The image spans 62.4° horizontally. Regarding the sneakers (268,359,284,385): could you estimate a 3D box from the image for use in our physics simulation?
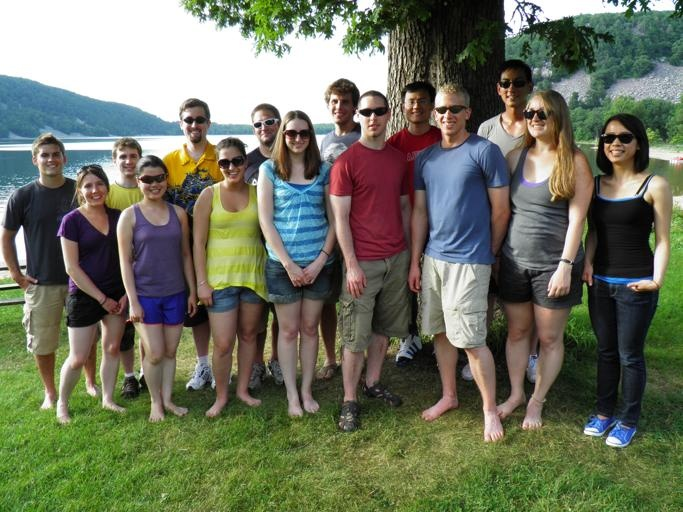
[{"bbox_3d":[-0.709,1.235,6.078,0.111,0.144,0.327,-18,34,-22],"label":"sneakers"}]

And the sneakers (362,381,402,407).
[{"bbox_3d":[0.416,1.352,5.616,0.403,0.178,0.149,13,24,23],"label":"sneakers"}]

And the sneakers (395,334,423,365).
[{"bbox_3d":[0.775,1.046,6.452,0.244,0.248,0.442,2,12,24],"label":"sneakers"}]

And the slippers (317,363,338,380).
[{"bbox_3d":[-0.135,1.252,6.088,0.245,0.060,0.108,-23,35,-31],"label":"slippers"}]

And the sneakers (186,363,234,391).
[{"bbox_3d":[-1.455,1.330,6.273,0.210,0.281,0.649,-1,-10,9],"label":"sneakers"}]

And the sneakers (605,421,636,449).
[{"bbox_3d":[2.412,1.541,4.847,0.130,0.132,0.332,-1,3,44],"label":"sneakers"}]

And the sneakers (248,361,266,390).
[{"bbox_3d":[-0.888,1.254,5.995,0.113,0.206,0.339,-2,11,5],"label":"sneakers"}]

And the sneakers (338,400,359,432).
[{"bbox_3d":[0.082,1.473,5.200,0.126,0.109,0.255,1,25,2],"label":"sneakers"}]

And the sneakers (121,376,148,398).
[{"bbox_3d":[-2.174,1.349,5.911,0.193,0.173,0.308,2,12,23],"label":"sneakers"}]

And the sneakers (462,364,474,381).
[{"bbox_3d":[1.333,1.215,5.860,0.104,0.118,0.272,-5,-1,18],"label":"sneakers"}]

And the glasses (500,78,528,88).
[{"bbox_3d":[1.787,-1.774,5.828,0.263,0.101,0.134,0,11,14],"label":"glasses"}]

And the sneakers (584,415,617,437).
[{"bbox_3d":[2.339,1.506,5.044,0.319,0.130,0.132,-2,-4,-32],"label":"sneakers"}]
